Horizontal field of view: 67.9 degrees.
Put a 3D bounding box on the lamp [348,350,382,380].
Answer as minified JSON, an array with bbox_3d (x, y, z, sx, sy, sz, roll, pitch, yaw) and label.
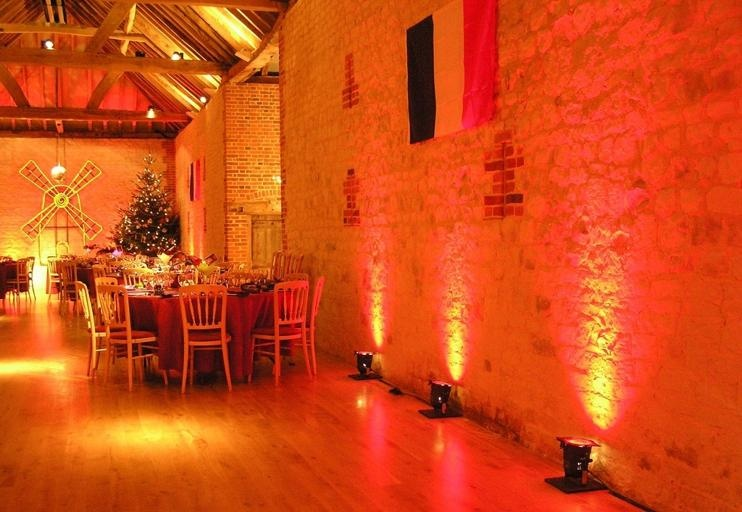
[{"bbox_3d":[-0.064,1.268,6.398,0.319,0.219,0.314,-1,2,-11],"label":"lamp"}]

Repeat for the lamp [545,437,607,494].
[{"bbox_3d":[1.351,1.379,3.681,0.334,0.320,0.243,-2,5,-18],"label":"lamp"}]

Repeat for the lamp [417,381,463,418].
[{"bbox_3d":[0.622,1.270,4.991,0.328,0.226,0.315,-4,8,-26],"label":"lamp"}]

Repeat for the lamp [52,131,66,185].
[{"bbox_3d":[-9.728,-3.144,17.129,0.487,1.565,1.301,-4,5,-29],"label":"lamp"}]
